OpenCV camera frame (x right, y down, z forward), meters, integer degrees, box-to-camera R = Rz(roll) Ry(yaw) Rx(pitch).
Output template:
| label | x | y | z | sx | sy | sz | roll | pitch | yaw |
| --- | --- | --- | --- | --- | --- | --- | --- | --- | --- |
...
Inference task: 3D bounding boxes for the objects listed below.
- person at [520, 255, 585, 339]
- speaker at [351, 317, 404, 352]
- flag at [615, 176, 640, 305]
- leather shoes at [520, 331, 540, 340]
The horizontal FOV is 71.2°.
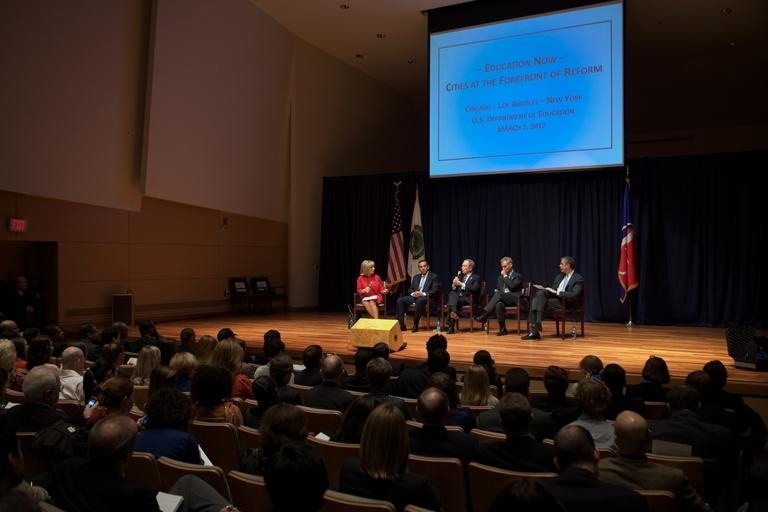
| label | x | y | z | sx | sy | sz | roll | pitch | yaw |
| --- | --- | --- | --- | --- | --- | --- | --- | --- | --- |
| person | 2.831 | 0.650 | 8.962 | 0.968 | 1.483 | 0.647 | 13 | -11 | -21 |
| speaker | -0.112 | 1.117 | 7.833 | 0.750 | 0.442 | 0.514 | 2 | -4 | 0 |
| flag | 4.821 | -0.381 | 10.530 | 0.341 | 2.474 | 0.604 | 0 | -4 | 25 |
| leather shoes | 2.413 | 1.249 | 8.807 | 0.275 | 0.128 | 0.146 | 2 | -4 | -10 |
